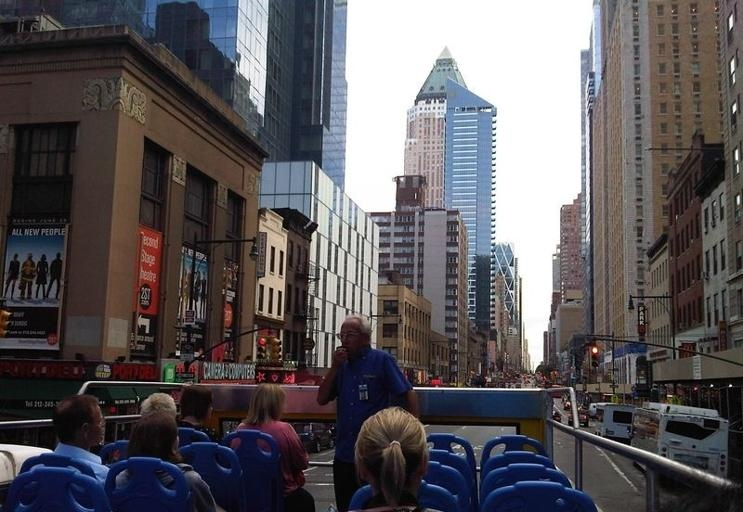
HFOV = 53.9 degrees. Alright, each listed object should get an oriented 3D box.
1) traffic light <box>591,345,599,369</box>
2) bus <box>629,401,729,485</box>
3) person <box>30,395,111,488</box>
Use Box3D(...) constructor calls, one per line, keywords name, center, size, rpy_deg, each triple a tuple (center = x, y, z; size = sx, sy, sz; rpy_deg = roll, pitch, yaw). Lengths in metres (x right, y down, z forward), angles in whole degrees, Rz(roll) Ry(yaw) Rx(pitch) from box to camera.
Box3D(name="traffic light", center=(12.649, 5.655, 41.442), size=(0.396, 1.258, 2.439), rpy_deg=(-3, -11, 14))
Box3D(name="bus", center=(14.580, 9.030, 33.679), size=(2.607, 3.528, 8.783), rpy_deg=(6, -16, 25))
Box3D(name="person", center=(-3.733, 2.368, 9.317), size=(1.212, 1.269, 0.614), rpy_deg=(2, 1, 42))
